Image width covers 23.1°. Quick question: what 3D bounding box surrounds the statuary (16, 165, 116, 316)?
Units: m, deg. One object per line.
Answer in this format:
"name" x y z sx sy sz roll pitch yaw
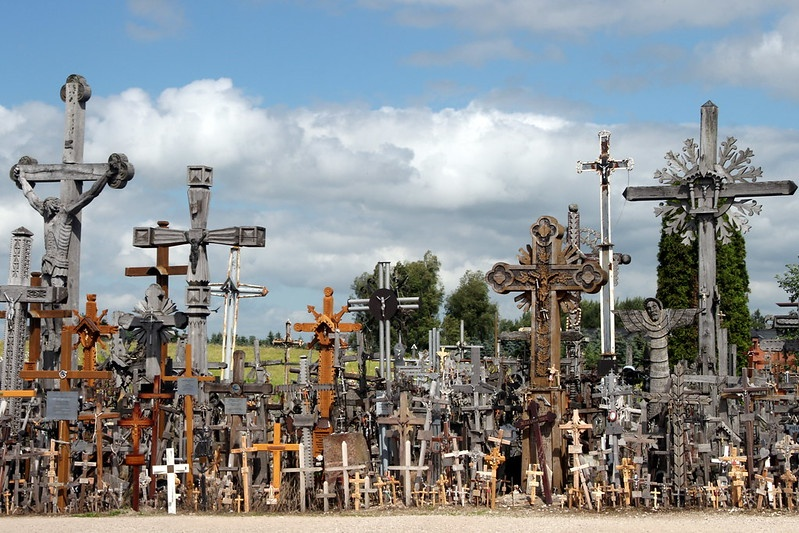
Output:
"statuary" -8.496 -1.055 48.908 2.433 3.148 0.720 -5 -11 27
